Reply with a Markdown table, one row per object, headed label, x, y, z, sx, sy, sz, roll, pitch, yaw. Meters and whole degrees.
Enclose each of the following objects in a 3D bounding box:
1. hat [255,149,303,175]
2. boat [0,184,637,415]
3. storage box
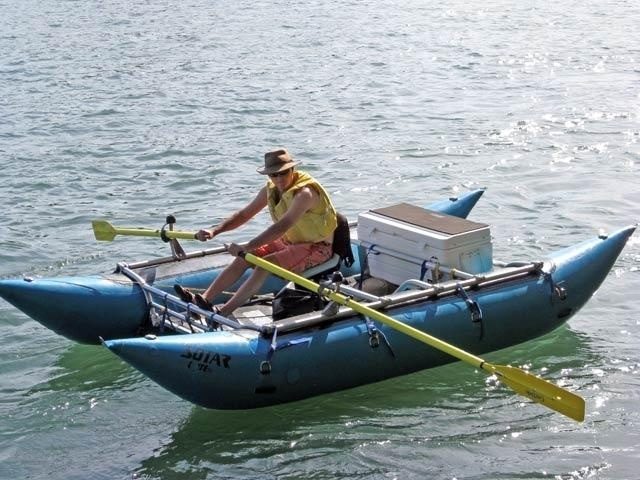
| label | x | y | z | sx | sy | sz | roll | pitch | yaw |
| --- | --- | --- | --- | --- | --- | --- | --- | --- | --- |
| hat | -0.365 | -0.789 | 8.109 | 0.436 | 0.113 | 0.391 | -7 | 10 | 28 |
| boat | 0.604 | 0.496 | 7.954 | 5.385 | 0.596 | 2.588 | -8 | 15 | -29 |
| storage box | 1.118 | 0.036 | 8.472 | 0.795 | 0.385 | 1.139 | -19 | 24 | -38 |
